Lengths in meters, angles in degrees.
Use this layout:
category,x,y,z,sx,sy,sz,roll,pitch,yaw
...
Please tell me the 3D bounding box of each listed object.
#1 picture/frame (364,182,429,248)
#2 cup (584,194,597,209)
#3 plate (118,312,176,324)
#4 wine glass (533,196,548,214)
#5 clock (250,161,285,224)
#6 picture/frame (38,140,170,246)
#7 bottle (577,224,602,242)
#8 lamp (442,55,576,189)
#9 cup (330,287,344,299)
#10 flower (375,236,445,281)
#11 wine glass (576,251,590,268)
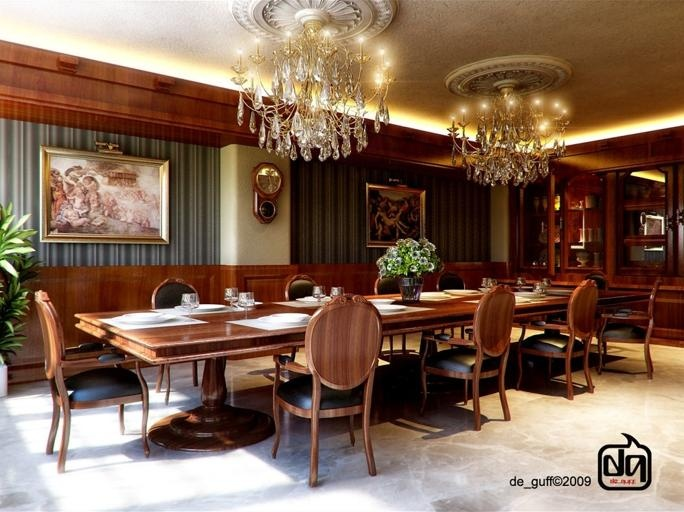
category,x,y,z,sx,sy,sz,roll,pitch,yaw
picture/frame,0.800,-0.645,7.663,1.322,0.937,0.090,2,-4,-34
cup,4.052,-0.888,7.933,0.199,0.197,0.190,2,2,0
plate,-1.419,0.440,3.572,0.371,0.054,0.449,-2,4,-22
wine glass,3.500,-0.896,8.566,0.250,0.245,0.243,-2,-4,24
clock,-0.949,-0.791,6.234,0.408,0.772,0.095,-4,6,-38
picture/frame,-2.752,-0.706,5.493,1.398,1.050,0.100,0,4,-36
bottle,4.034,-0.339,7.894,0.227,0.273,0.404,-2,3,-32
lamp,1.899,-1.593,5.705,1.546,1.224,1.416,-3,1,-40
cup,-0.053,0.300,3.957,0.120,0.101,0.115,1,-2,0
flower,0.631,0.029,4.838,0.467,0.301,0.467,-2,0,-3
wine glass,3.927,0.064,7.934,0.239,0.205,0.229,-2,-7,14
